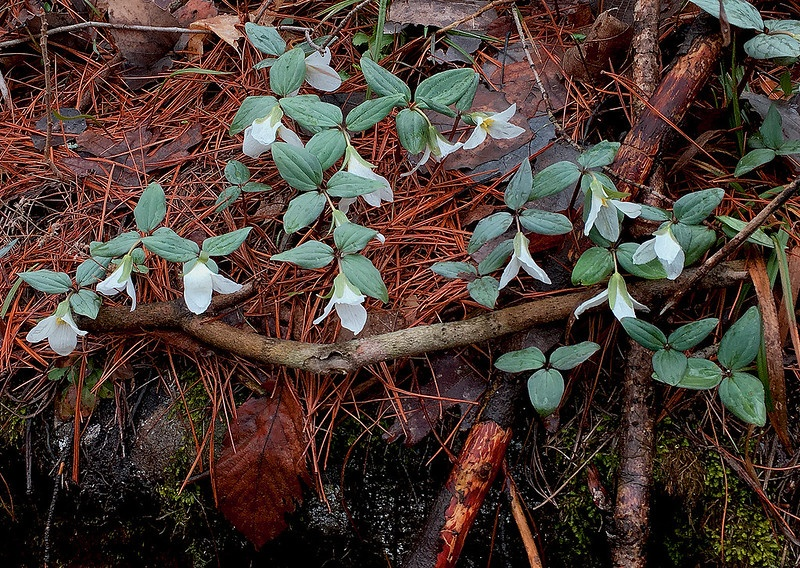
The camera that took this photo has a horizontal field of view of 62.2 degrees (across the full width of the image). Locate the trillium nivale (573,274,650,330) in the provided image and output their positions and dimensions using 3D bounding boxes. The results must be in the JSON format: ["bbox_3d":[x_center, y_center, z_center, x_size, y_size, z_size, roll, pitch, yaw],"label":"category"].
[{"bbox_3d":[0.977,0.062,3.077,0.330,0.216,0.127,-3,-7,11],"label":"trillium nivale"}]

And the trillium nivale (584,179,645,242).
[{"bbox_3d":[0.963,-0.329,3.032,0.250,0.290,0.142,-10,19,22],"label":"trillium nivale"}]

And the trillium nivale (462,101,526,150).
[{"bbox_3d":[0.479,-0.758,3.238,0.251,0.192,0.255,-8,-9,42],"label":"trillium nivale"}]

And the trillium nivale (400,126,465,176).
[{"bbox_3d":[0.146,-0.700,3.223,0.239,0.184,0.167,4,14,14],"label":"trillium nivale"}]

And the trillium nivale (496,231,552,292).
[{"bbox_3d":[0.537,-0.100,3.169,0.264,0.300,0.252,-1,-37,-5],"label":"trillium nivale"}]

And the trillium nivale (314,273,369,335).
[{"bbox_3d":[-0.259,0.084,3.064,0.213,0.126,0.279,1,7,-24],"label":"trillium nivale"}]

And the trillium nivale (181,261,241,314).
[{"bbox_3d":[-0.909,0.013,3.148,0.163,0.246,0.248,25,-24,-38],"label":"trillium nivale"}]

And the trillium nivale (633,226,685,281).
[{"bbox_3d":[1.189,-0.119,3.012,0.233,0.241,0.090,23,28,21],"label":"trillium nivale"}]

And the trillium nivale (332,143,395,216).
[{"bbox_3d":[-0.162,-0.513,3.171,0.222,0.346,0.116,-9,9,27],"label":"trillium nivale"}]

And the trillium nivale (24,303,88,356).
[{"bbox_3d":[-1.662,0.226,3.209,0.263,0.273,0.106,0,20,-15],"label":"trillium nivale"}]
